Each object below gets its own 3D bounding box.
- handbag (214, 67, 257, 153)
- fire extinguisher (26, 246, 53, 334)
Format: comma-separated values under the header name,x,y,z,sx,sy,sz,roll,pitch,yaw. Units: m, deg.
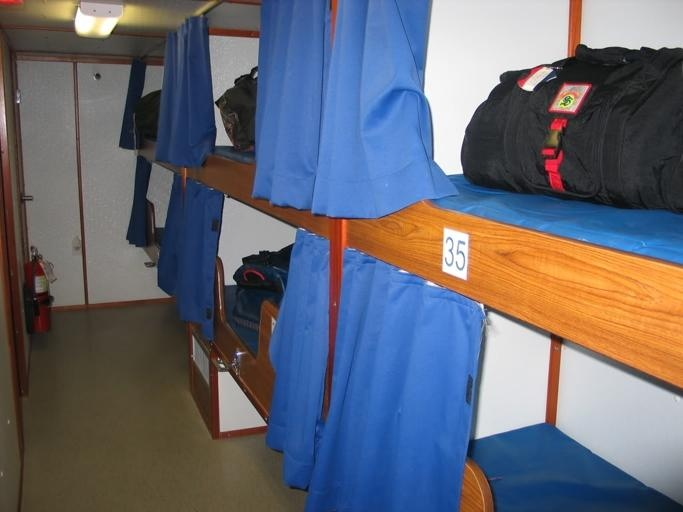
name,x,y,z,sx,sy,sz,roll,pitch,yaw
handbag,-0.529,-0.742,2.871,0.213,0.469,0.263,-6,16,-28
fire extinguisher,-2.890,0.354,5.132,0.188,0.903,0.311,-3,11,-26
